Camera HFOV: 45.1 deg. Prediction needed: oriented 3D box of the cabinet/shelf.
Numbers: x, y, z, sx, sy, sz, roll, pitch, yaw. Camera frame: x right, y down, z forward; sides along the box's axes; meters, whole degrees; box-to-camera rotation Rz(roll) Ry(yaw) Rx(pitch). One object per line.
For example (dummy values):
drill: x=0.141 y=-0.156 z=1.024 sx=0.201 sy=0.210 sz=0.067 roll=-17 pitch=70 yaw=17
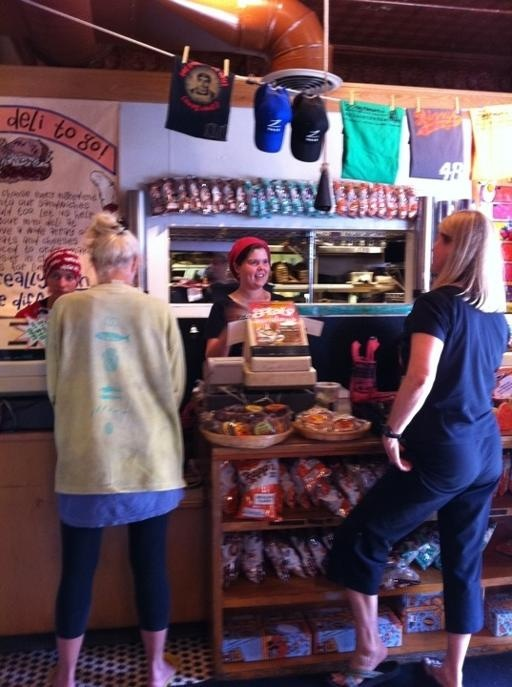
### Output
cabinet/shelf: x=0.378 y=0.869 z=2.440 sx=1.243 sy=0.704 sz=0.388 roll=0 pitch=-4 yaw=-8

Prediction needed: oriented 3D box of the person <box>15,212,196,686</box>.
person: x=-0.510 y=0.448 z=2.251 sx=0.493 sy=1.828 sz=0.338 roll=-1 pitch=10 yaw=-6

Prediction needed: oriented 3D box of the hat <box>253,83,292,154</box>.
hat: x=0.069 y=-0.993 z=2.698 sx=0.165 sy=0.279 sz=0.301 roll=0 pitch=9 yaw=0

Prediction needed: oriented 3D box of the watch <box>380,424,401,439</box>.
watch: x=0.486 y=0.322 z=2.193 sx=0.065 sy=0.031 sz=0.060 roll=17 pitch=3 yaw=-24

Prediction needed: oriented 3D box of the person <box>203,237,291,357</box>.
person: x=-0.015 y=-0.193 z=3.294 sx=0.554 sy=0.721 sz=0.427 roll=2 pitch=5 yaw=-16

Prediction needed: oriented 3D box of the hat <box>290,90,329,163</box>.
hat: x=0.220 y=-0.909 z=2.616 sx=0.153 sy=0.256 sz=0.226 roll=1 pitch=9 yaw=1

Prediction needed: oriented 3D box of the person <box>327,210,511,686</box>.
person: x=0.641 y=0.429 z=2.280 sx=0.655 sy=1.816 sz=0.293 roll=-4 pitch=10 yaw=-23

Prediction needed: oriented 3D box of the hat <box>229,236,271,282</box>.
hat: x=-0.092 y=-0.466 z=3.347 sx=0.215 sy=0.226 sz=0.233 roll=2 pitch=22 yaw=-14
